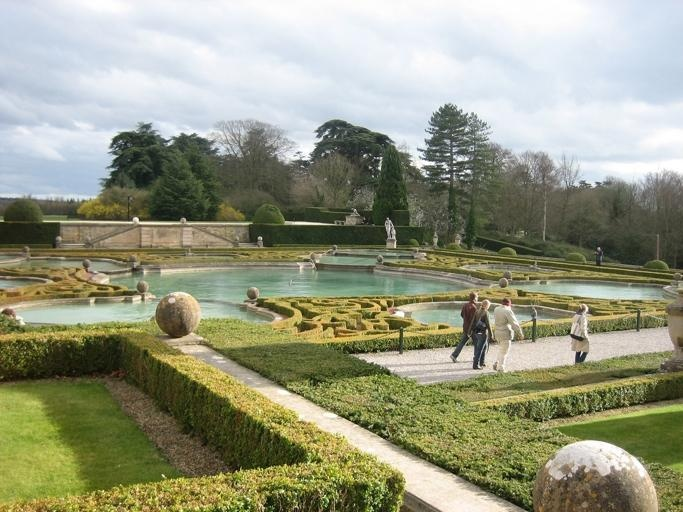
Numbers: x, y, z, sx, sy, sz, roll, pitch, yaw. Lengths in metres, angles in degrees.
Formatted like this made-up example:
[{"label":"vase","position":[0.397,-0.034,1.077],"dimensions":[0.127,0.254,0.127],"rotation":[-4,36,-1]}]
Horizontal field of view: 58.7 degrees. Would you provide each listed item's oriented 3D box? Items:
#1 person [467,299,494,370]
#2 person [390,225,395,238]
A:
[{"label":"person","position":[2.713,1.493,11.846],"dimensions":[0.408,1.282,1.054],"rotation":[2,1,13]},{"label":"person","position":[3.879,-1.680,45.858],"dimensions":[0.280,0.875,0.811],"rotation":[2,1,4]}]
